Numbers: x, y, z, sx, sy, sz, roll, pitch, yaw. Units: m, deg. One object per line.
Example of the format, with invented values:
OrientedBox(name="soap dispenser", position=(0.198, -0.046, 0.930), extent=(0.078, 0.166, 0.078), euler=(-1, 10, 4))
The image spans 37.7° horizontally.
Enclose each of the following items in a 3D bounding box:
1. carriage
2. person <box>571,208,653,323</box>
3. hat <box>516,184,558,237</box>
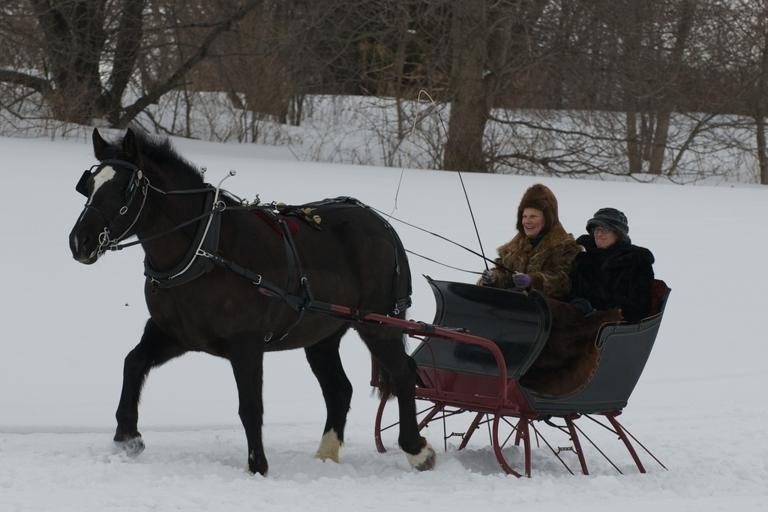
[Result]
OrientedBox(name="carriage", position=(0.013, 0.732, 12.431), extent=(6.774, 3.443, 3.086), euler=(6, -9, -32))
OrientedBox(name="person", position=(2.459, 0.150, 12.394), extent=(0.993, 1.248, 0.789), euler=(-3, -10, 32))
OrientedBox(name="hat", position=(1.706, -0.486, 12.547), extent=(0.408, 0.577, 0.405), euler=(1, -1, 6))
